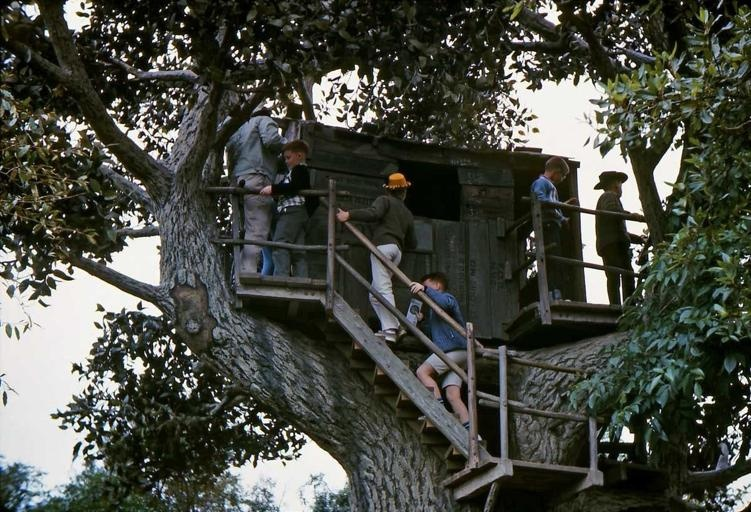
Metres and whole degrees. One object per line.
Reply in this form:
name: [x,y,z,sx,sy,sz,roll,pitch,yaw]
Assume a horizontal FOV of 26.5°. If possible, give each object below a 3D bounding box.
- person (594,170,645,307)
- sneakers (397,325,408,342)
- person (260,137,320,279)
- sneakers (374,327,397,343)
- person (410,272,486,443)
person: [3.558,-0.253,23.297,0.619,2.397,0.855,-3,-34,8]
sneakers: [0.402,1.106,22.476,0.079,0.173,0.248,-8,-22,1]
person: [-1.228,-0.614,22.550,0.805,1.898,0.632,10,-50,-5]
sneakers: [0.170,1.076,22.165,0.319,0.233,0.142,19,-34,-4]
person: [0.975,1.435,21.945,1.079,2.158,0.974,9,-45,-3]
